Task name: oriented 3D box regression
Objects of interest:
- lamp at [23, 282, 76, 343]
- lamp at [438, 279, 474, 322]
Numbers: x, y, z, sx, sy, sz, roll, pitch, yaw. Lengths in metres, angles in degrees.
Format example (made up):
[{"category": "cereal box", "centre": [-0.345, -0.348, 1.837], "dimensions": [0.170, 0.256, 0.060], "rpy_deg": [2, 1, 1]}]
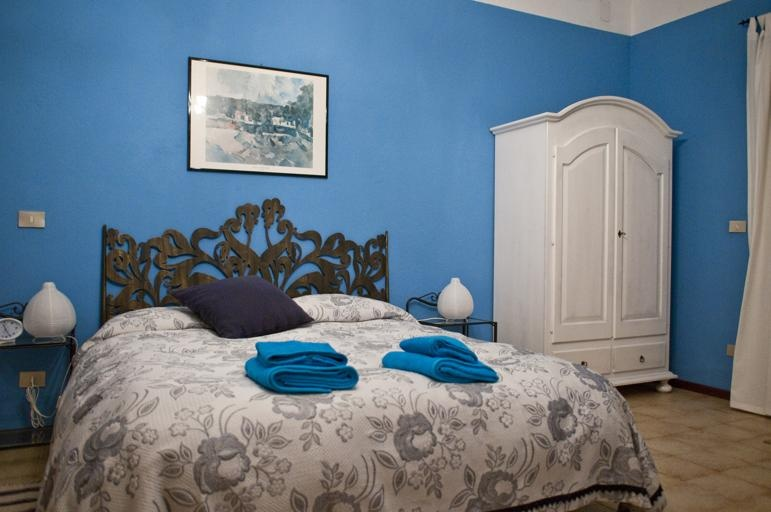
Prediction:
[{"category": "lamp", "centre": [-2.286, 0.380, 3.962], "dimensions": [0.351, 0.487, 0.349], "rpy_deg": [-2, -3, 37]}, {"category": "lamp", "centre": [0.562, 0.376, 4.825], "dimensions": [0.301, 0.338, 0.321], "rpy_deg": [2, -7, -10]}]
